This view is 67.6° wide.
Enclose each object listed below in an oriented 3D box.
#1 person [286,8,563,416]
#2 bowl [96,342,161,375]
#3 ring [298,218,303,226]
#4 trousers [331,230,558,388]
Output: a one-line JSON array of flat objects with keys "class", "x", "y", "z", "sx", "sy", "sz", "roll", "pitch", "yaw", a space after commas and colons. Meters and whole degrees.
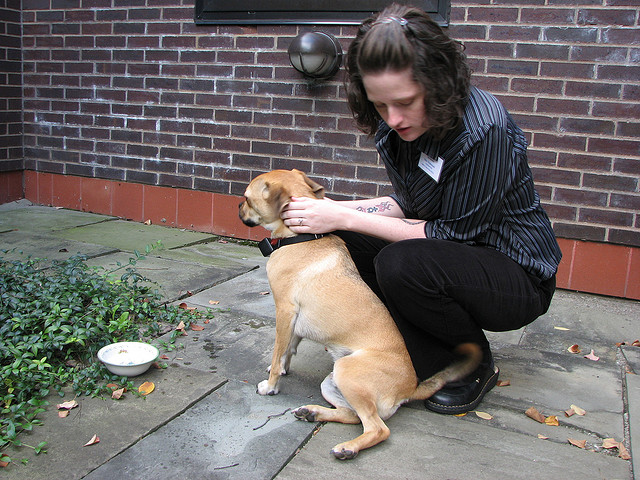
[{"class": "person", "x": 0.696, "y": -0.139, "z": 2.858, "sx": 1.369, "sy": 2.253, "sz": 0.793, "roll": 6, "pitch": 16, "yaw": 21}, {"class": "bowl", "x": -1.163, "y": 0.735, "z": 2.904, "sx": 0.337, "sy": 0.156, "sz": 0.278, "roll": 0, "pitch": 12, "yaw": -4}, {"class": "ring", "x": -0.123, "y": -0.114, "z": 2.939, "sx": 0.046, "sy": 0.050, "sz": 0.018, "roll": 0, "pitch": 0, "yaw": 9}, {"class": "trousers", "x": 0.849, "y": 0.430, "z": 2.855, "sx": 1.014, "sy": 0.876, "sz": 0.281, "roll": -1, "pitch": 15, "yaw": -6}]
